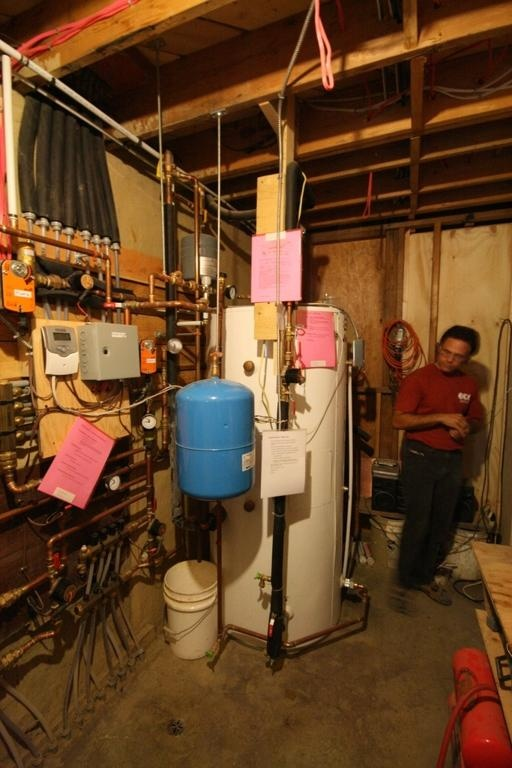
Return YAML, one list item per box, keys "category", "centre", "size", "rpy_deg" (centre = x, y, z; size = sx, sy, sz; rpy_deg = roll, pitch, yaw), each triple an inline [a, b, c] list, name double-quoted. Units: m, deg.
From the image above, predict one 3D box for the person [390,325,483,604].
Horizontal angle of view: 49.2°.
- category: "person"
  centre: [0.965, 0.540, 3.016]
  size: [0.473, 1.253, 0.416]
  rpy_deg: [2, 13, 7]

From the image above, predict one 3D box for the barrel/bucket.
- category: "barrel/bucket"
  centre: [-0.307, 1.063, 2.607]
  size: [0.249, 0.338, 0.354]
  rpy_deg: [0, 13, -4]
